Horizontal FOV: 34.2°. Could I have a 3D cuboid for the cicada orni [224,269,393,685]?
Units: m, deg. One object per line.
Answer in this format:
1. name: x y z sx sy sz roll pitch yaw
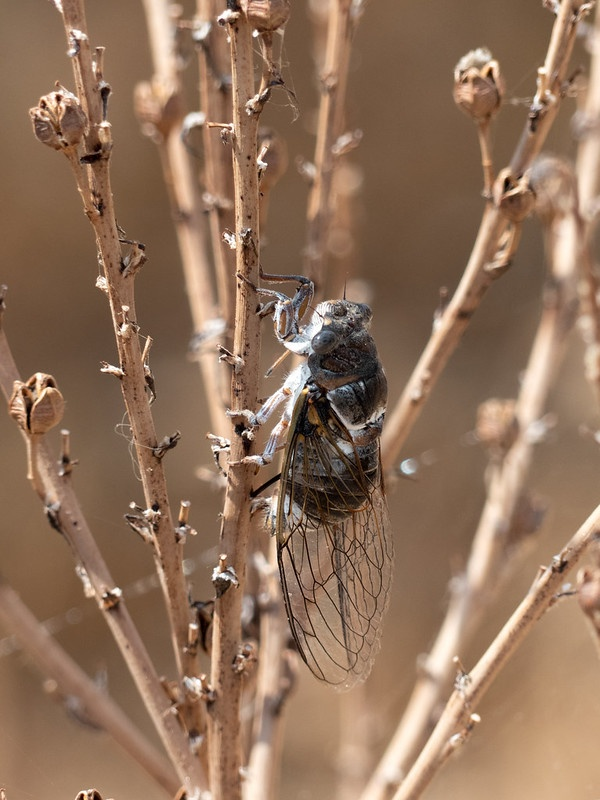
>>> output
1. cicada orni: 0.026 0.066 0.933 0.137 0.137 0.371 2 -75 27
